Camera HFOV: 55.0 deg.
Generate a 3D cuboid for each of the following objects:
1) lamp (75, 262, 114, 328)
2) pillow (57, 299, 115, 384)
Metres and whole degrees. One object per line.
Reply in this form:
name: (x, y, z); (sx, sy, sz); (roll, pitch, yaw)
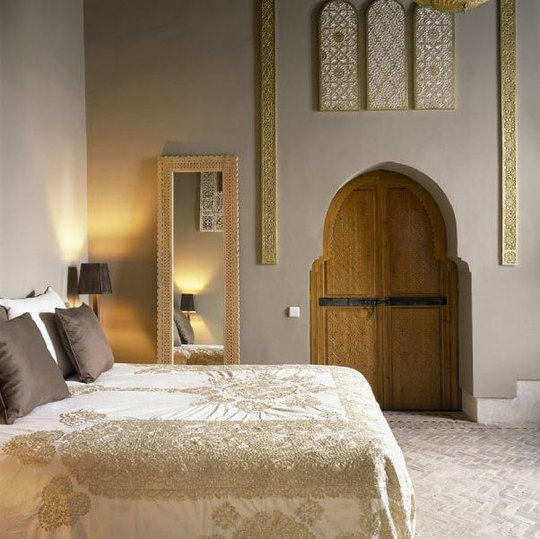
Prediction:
lamp: (-1.481, 0.249, 4.385); (0.261, 0.601, 0.277); (-1, 4, -20)
pillow: (-1.197, 0.448, 3.400); (0.217, 0.453, 0.517); (-3, 4, -2)
